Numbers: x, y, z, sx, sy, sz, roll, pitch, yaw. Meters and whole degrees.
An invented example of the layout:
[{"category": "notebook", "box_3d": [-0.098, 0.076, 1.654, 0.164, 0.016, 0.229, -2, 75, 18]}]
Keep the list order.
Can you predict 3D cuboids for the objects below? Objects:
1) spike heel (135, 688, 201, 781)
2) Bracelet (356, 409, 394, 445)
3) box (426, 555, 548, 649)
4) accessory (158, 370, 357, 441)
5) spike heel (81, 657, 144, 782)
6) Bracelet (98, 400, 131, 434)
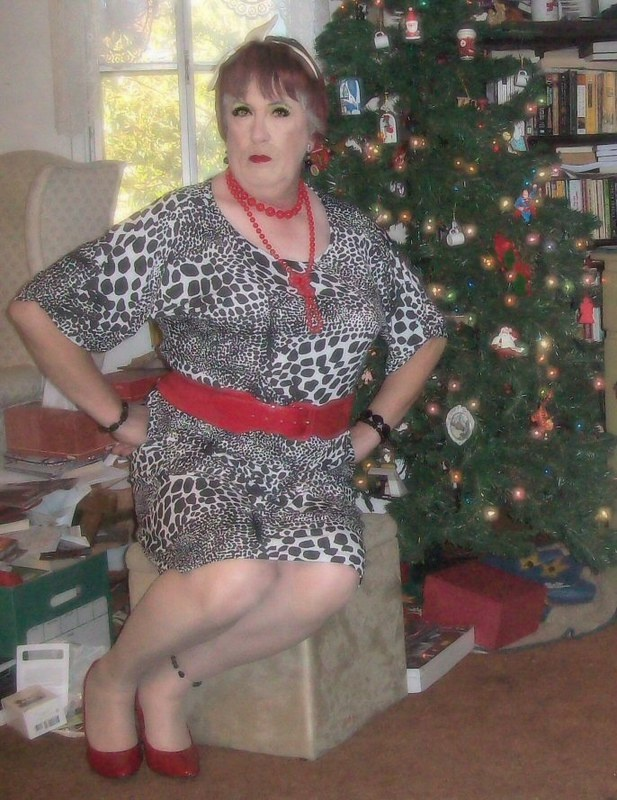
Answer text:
[{"category": "spike heel", "box_3d": [-0.260, 0.610, 1.377, 0.094, 0.056, 0.272, 5, 8, -21]}, {"category": "Bracelet", "box_3d": [0.123, 0.051, 1.485, 0.063, 0.026, 0.068, 43, -5, -18]}, {"category": "box", "box_3d": [0.492, 0.521, 1.978, 0.225, 0.111, 0.217, -9, 16, -39]}, {"category": "accessory", "box_3d": [-0.085, 0.020, 1.273, 0.230, 0.043, 0.150, 10, 5, 1]}, {"category": "spike heel", "box_3d": [-0.338, 0.564, 1.360, 0.137, 0.047, 0.246, -3, 39, -10]}, {"category": "Bracelet", "box_3d": [-0.322, 0.029, 1.297, 0.019, 0.053, 0.048, 31, -16, -8]}]
